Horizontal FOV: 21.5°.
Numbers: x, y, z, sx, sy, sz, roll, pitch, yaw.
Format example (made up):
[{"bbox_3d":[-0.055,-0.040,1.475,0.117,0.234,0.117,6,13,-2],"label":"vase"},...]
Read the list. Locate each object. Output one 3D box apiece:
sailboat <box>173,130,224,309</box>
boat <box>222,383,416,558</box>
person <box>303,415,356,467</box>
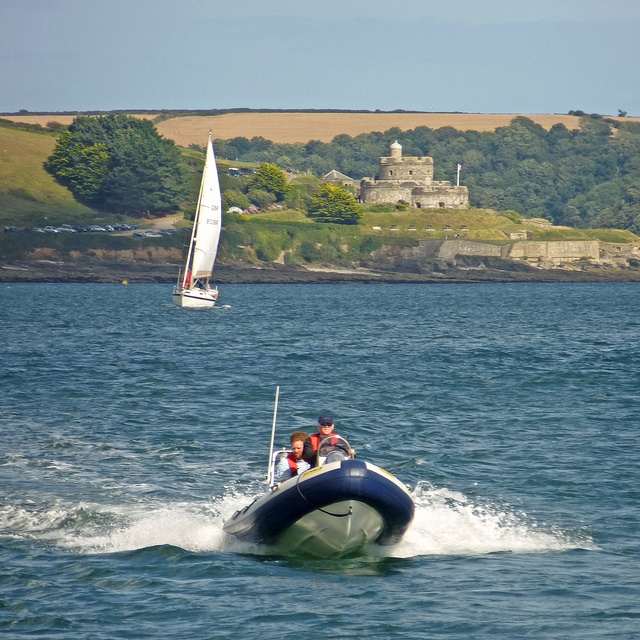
[{"bbox_3d":[-8.713,-6.311,117.205,3.851,13.456,3.477,-14,19,-41],"label":"sailboat"},{"bbox_3d":[0.055,4.323,45.998,4.030,3.372,4.249,-4,12,-12],"label":"boat"},{"bbox_3d":[0.200,3.244,45.913,1.247,1.013,1.583,0,-2,-9],"label":"person"}]
